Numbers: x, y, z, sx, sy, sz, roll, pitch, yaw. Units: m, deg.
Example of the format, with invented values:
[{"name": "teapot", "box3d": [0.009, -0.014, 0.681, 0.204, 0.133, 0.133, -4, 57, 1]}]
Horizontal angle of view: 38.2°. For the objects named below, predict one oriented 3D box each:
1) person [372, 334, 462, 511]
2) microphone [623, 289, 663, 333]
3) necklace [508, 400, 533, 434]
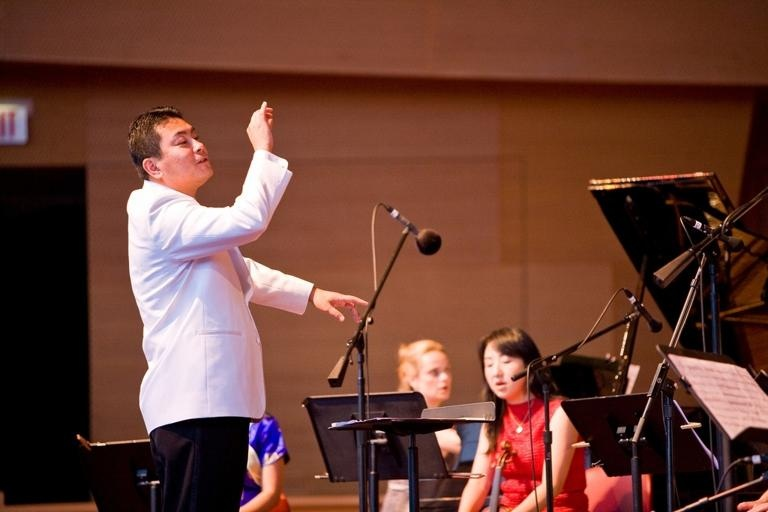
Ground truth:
[{"name": "person", "box3d": [0.306, 1.405, 9.392, 0.674, 1.425, 1.089, -2, -8, 8]}, {"name": "microphone", "box3d": [2.122, 0.461, 9.156, 0.422, 0.121, 0.144, 40, -4, 6]}, {"name": "necklace", "box3d": [1.048, 1.238, 8.579, 0.054, 0.266, 0.168, 5, -11, -32]}]
